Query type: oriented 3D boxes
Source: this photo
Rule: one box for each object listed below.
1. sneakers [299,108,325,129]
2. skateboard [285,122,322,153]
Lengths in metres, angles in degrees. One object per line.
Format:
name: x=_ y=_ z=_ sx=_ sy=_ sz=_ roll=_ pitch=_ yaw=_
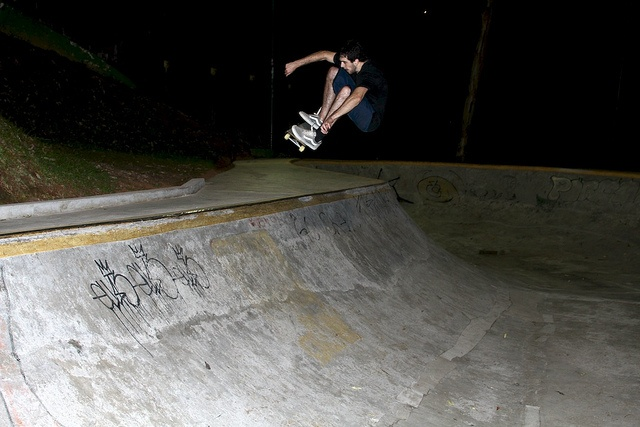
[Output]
sneakers: x=-0.101 y=-1.204 z=5.937 sx=0.289 sy=0.239 sz=0.387 roll=8 pitch=3 yaw=-1
skateboard: x=-0.178 y=-1.040 z=5.984 sx=0.541 sy=0.236 sz=0.196 roll=-28 pitch=10 yaw=-36
